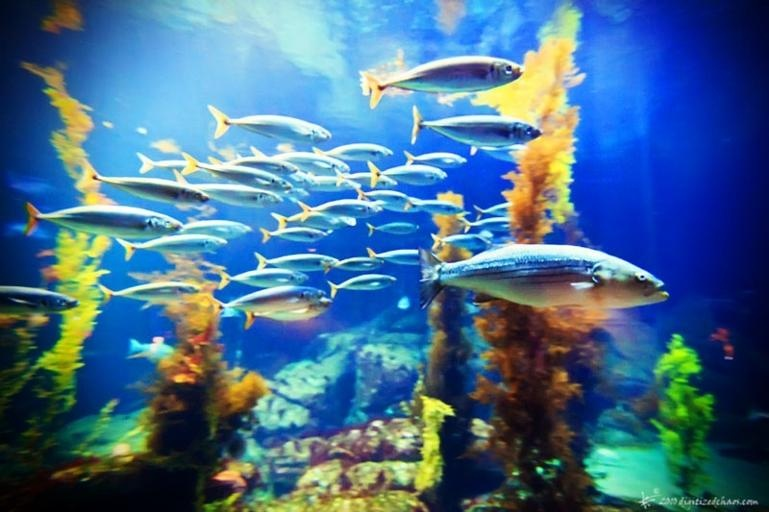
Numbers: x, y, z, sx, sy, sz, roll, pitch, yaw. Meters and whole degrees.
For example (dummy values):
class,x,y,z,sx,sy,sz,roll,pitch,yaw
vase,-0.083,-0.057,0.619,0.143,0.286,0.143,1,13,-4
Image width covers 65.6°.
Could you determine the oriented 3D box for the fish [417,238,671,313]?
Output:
class,x,y,z,sx,sy,sz,roll,pitch,yaw
fish,4.432,0.744,17.152,9.217,1.952,1.921,3,-17,4
